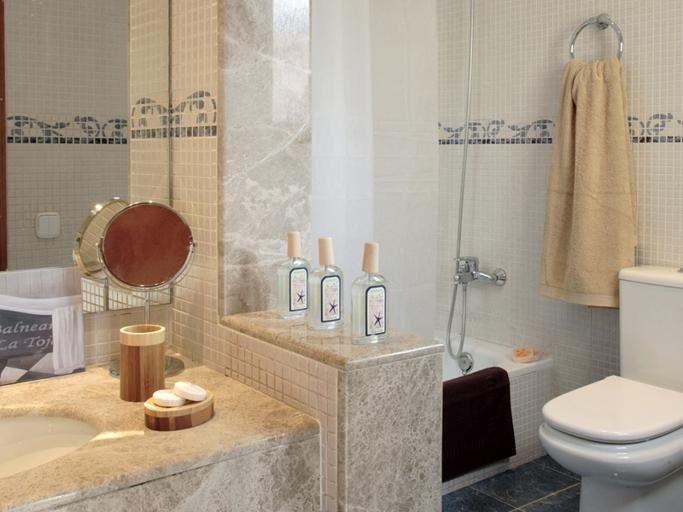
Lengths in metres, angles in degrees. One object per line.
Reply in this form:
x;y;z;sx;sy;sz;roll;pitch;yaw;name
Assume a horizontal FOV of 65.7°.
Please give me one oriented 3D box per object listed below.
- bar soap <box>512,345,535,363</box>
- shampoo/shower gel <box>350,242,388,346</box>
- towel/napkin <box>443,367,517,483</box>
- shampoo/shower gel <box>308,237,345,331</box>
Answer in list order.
0.965;0.524;2.809;0.114;0.043;0.125;4;11;17;bar soap
0.071;0.098;1.406;0.097;0.260;0.058;-2;10;-12;shampoo/shower gel
0.631;0.790;2.431;0.483;0.365;0.340;-5;3;-40;towel/napkin
-0.046;0.078;1.501;0.101;0.262;0.053;-2;10;-12;shampoo/shower gel
